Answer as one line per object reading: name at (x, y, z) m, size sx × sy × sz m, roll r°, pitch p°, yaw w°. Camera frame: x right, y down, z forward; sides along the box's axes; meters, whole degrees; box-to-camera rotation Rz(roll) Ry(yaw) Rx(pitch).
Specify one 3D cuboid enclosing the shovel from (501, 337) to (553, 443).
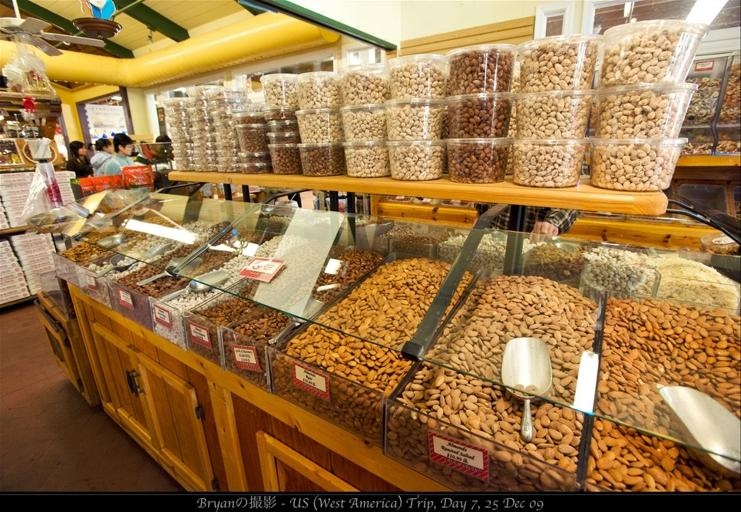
shovel at (0.579, 0.492, 1.704) m, size 0.220 × 0.078 × 0.359 m, roll 0°, pitch 56°, yaw 17°

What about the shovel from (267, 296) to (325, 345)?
shovel at (-0.329, 0.298, 2.072) m, size 0.288 × 0.047 × 0.160 m, roll -35°, pitch 18°, yaw -11°
